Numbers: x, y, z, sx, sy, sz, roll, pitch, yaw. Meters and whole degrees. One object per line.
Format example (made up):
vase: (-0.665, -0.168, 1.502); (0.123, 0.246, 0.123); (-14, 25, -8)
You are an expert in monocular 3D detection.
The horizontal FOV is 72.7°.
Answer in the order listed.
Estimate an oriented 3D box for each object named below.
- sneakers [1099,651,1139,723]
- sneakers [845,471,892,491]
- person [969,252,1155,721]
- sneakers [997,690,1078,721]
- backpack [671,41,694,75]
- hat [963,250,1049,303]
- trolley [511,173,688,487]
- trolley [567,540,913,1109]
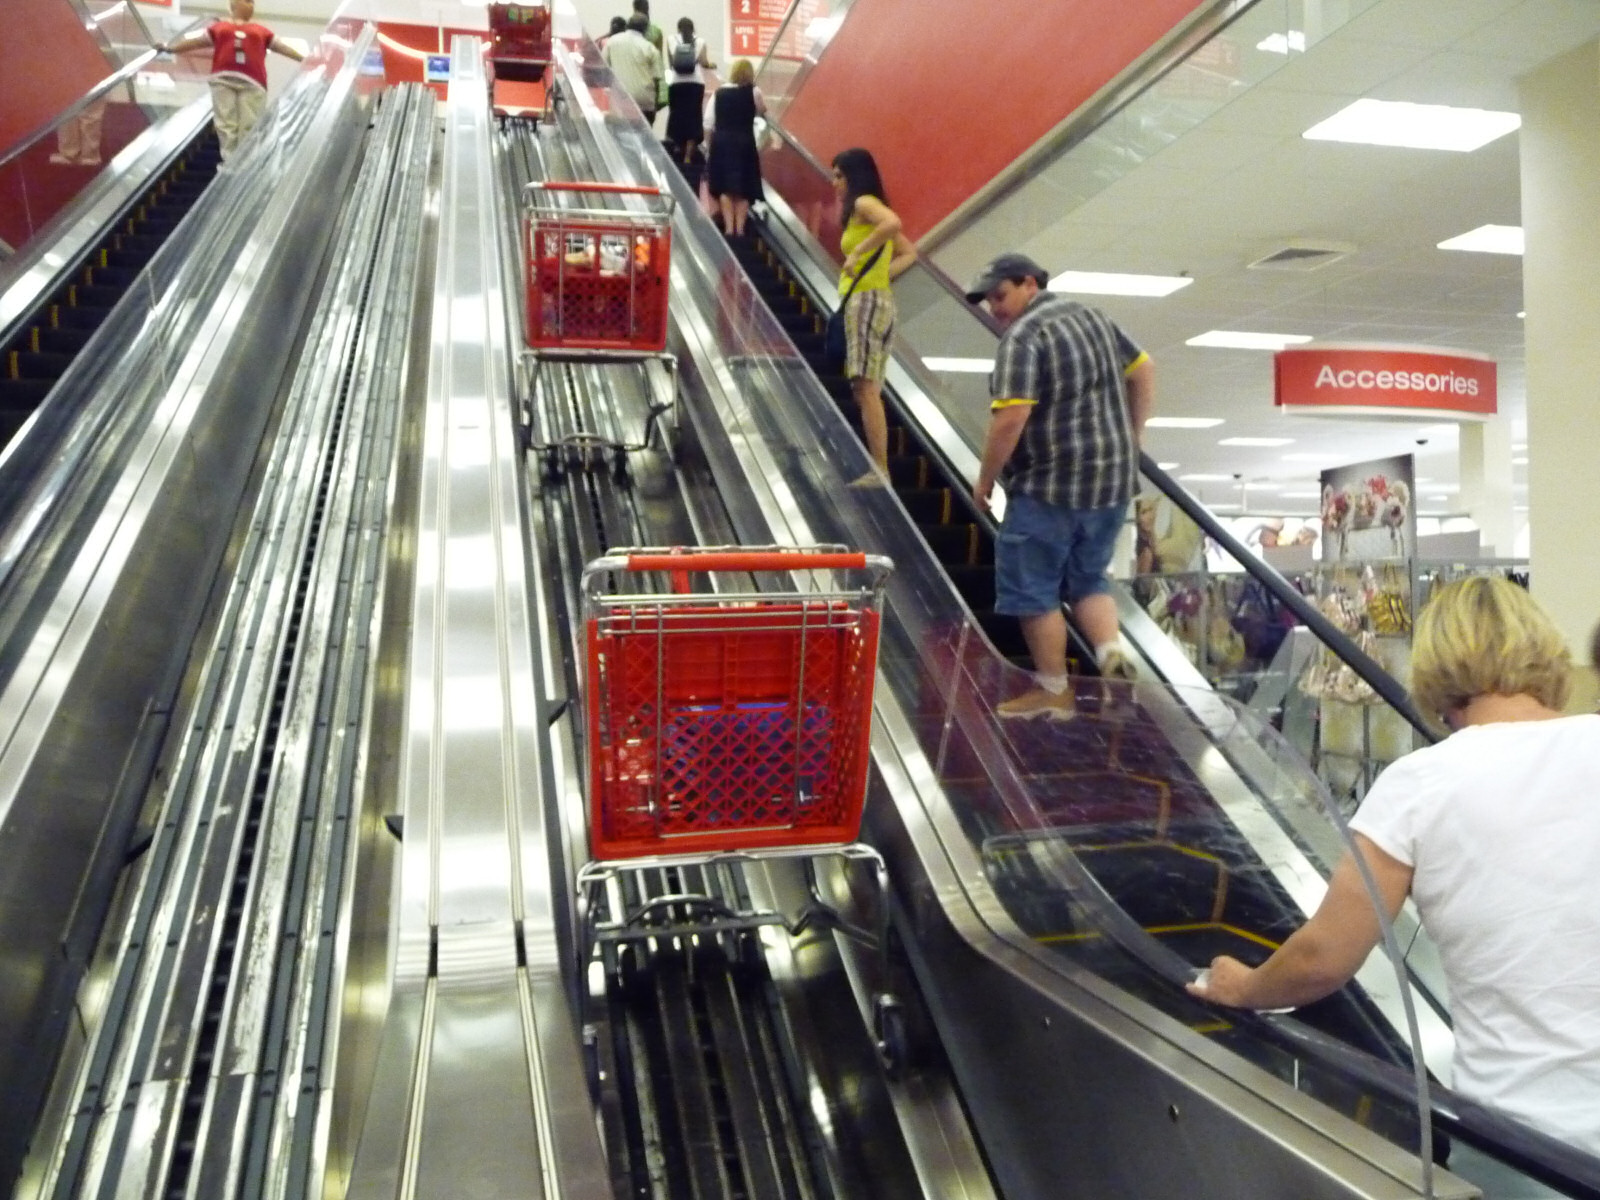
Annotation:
sneakers: (0.912, 0.248, 3.119); (0.108, 0.214, 0.113); (-1, 3, -6)
sneakers: (0.271, -0.448, 4.055); (0.167, 0.074, 0.088); (-3, 8, -24)
person: (0.864, -0.456, 3.697); (0.594, 1.505, 1.343); (2, 7, 17)
sneakers: (0.663, 0.278, 3.004); (0.069, 0.129, 0.196); (1, 3, -40)
backpack: (-0.934, -4.343, 8.795); (0.214, 0.215, 0.137); (-3, 29, -5)
hat: (0.742, -1.155, 3.909); (0.272, 0.145, 0.180); (2, 6, -1)
trolley: (-1.024, -1.372, 5.433); (0.689, 1.218, 1.310); (1, 17, -14)
trolley: (-0.247, 0.393, 2.911); (0.706, 1.180, 1.144); (-1, 9, -14)
